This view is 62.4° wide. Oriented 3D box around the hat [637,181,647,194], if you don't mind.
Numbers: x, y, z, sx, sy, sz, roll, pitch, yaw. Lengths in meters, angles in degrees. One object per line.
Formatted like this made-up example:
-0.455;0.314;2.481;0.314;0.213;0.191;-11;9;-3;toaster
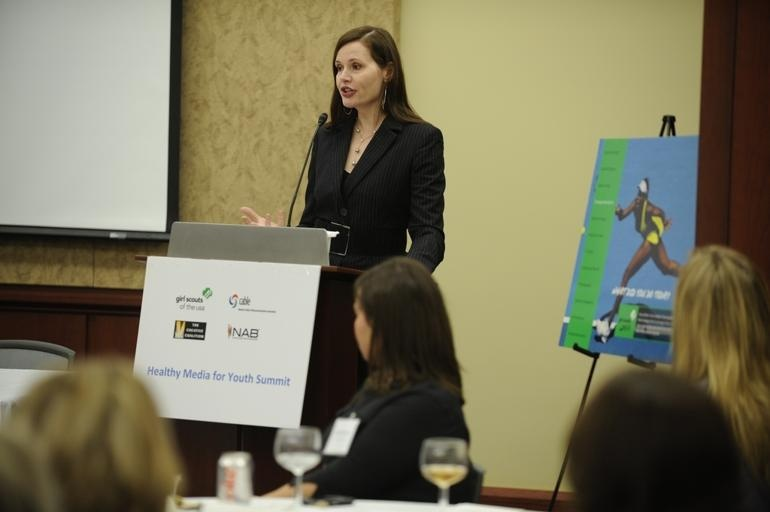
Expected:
1.376;-0.372;3.386;0.048;0.067;0.037;5;-4;39;hat

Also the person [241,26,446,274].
-0.039;-0.458;2.644;0.633;1.000;0.254;3;0;23;person

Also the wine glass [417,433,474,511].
0.153;0.553;1.627;0.096;0.175;0.095;3;0;-41;wine glass

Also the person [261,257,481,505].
0.065;0.535;2.387;0.678;1.269;0.599;3;-17;6;person

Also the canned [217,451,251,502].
-0.382;0.566;1.677;0.088;0.121;0.147;3;0;1;canned

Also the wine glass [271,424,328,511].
-0.233;0.544;1.669;0.110;0.199;0.138;3;0;-36;wine glass

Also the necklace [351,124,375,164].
-0.101;-0.502;2.722;0.068;0.219;0.022;15;-34;8;necklace
